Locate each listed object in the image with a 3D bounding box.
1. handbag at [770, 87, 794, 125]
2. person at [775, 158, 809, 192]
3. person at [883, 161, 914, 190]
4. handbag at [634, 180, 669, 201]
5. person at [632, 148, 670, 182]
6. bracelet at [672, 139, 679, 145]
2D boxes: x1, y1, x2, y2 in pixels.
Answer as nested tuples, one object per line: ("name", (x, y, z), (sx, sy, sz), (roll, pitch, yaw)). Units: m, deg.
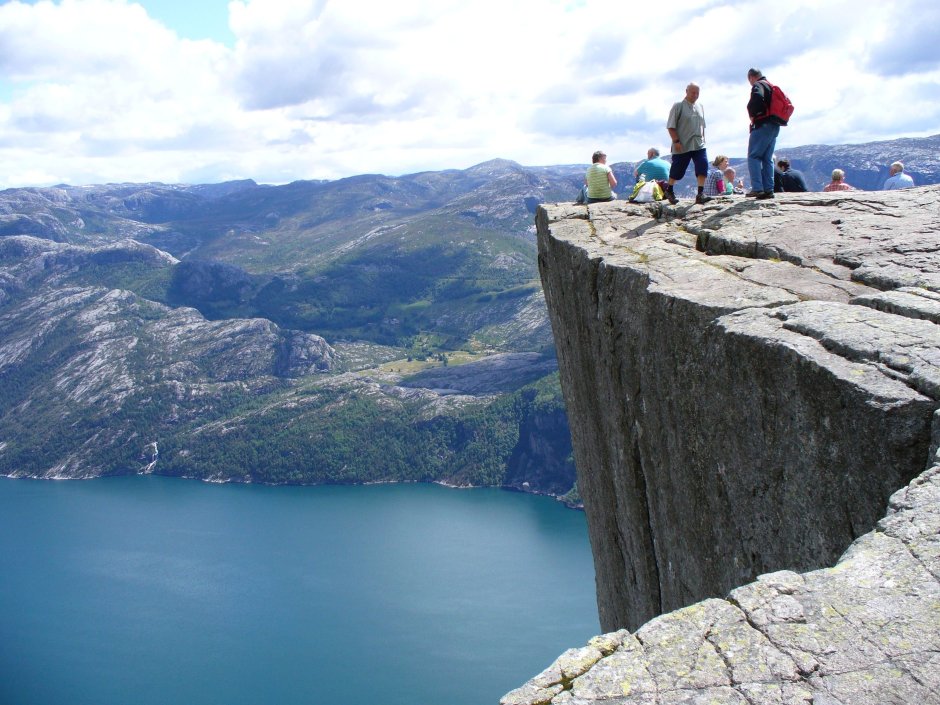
("handbag", (7.988, -6.287, 20.335), (0.496, 1.032, 0.714), (-2, 5, 21))
("person", (10.301, -5.747, 25.572), (0.827, 1.242, 1.727), (-2, 5, 21))
("person", (14.000, -5.807, 25.878), (0.707, 1.009, 2.640), (-1, 5, 28))
("handbag", (5.979, -5.311, 26.014), (0.720, 0.376, 1.040), (0, 15, 8))
("person", (5.927, -6.031, 25.512), (0.998, 1.158, 2.265), (-4, 5, -2))
("bracelet", (5.911, -6.038, 22.669), (0.207, 0.178, 0.065), (-6, 5, -27))
